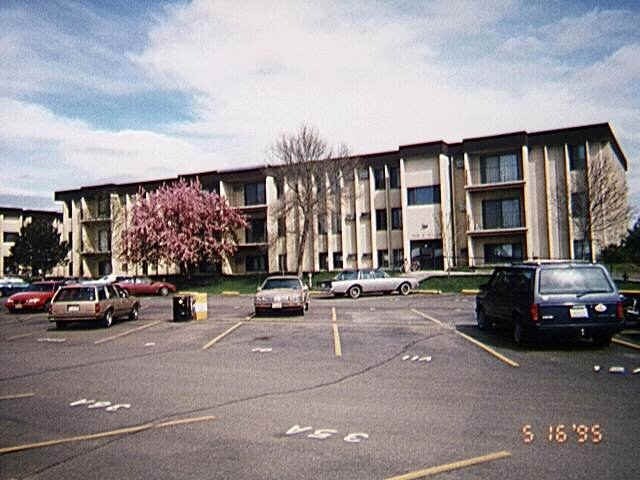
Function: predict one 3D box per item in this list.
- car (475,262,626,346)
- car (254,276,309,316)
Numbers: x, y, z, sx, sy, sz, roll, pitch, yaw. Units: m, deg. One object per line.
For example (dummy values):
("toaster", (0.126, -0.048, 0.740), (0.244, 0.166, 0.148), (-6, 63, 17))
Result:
("car", (5.925, 1.693, 14.625), (1.980, 2.302, 3.736), (-1, 1, -19))
("car", (-1.627, 2.391, 22.789), (1.932, 1.571, 2.221), (-1, 1, 5))
